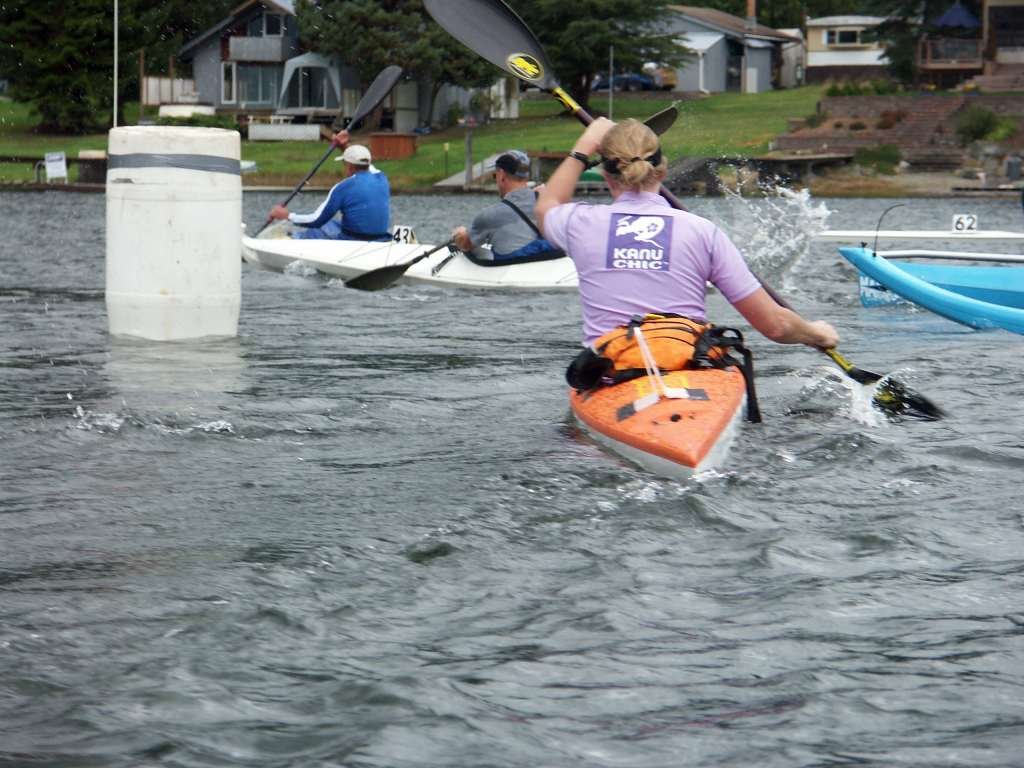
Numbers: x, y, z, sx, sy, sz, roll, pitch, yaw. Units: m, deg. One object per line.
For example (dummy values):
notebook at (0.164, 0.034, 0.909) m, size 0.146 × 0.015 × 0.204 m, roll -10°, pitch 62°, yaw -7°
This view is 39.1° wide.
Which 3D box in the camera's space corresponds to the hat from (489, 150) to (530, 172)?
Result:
hat at (-0.113, -1.814, 11.608) m, size 0.461 × 0.130 × 0.262 m, roll -4°, pitch 10°, yaw 9°

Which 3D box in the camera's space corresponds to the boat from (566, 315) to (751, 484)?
boat at (0.696, 0.025, 6.578) m, size 0.804 × 0.232 × 0.990 m, roll -9°, pitch 18°, yaw -2°
